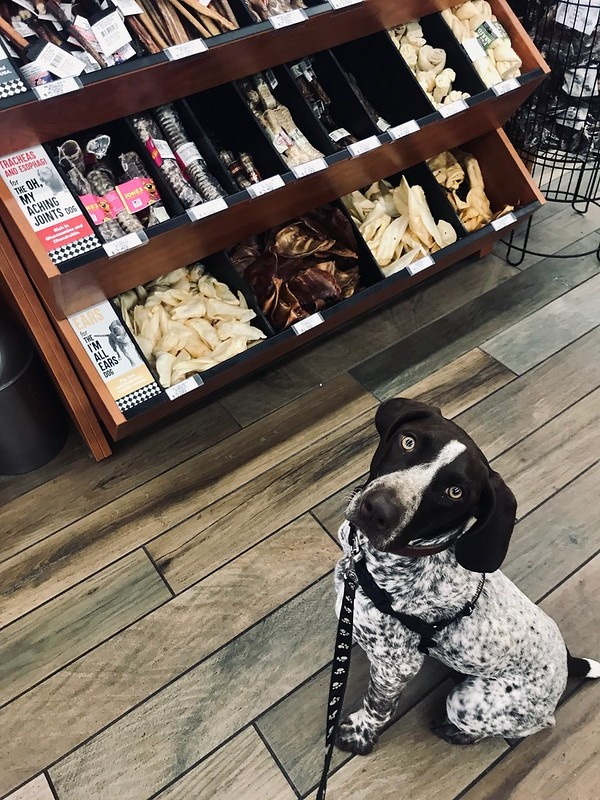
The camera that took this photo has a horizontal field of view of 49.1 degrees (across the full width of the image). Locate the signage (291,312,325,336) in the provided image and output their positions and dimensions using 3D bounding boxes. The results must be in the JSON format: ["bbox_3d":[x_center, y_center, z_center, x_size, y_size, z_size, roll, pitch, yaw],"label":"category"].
[{"bbox_3d":[0.031,-0.260,2.222,0.107,0.055,0.025,-34,23,-22],"label":"signage"}]

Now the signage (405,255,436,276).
[{"bbox_3d":[0.450,-0.493,2.435,0.098,0.022,0.065,-30,68,8],"label":"signage"}]

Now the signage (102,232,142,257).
[{"bbox_3d":[-0.461,-0.401,1.710,0.103,0.038,0.041,-32,51,-20],"label":"signage"}]

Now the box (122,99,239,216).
[{"bbox_3d":[-0.395,-0.685,2.016,0.225,0.119,0.399,-38,95,-32],"label":"box"}]

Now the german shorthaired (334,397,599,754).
[{"bbox_3d":[0.409,0.455,1.559,0.722,0.709,0.404,9,52,10],"label":"german shorthaired"}]

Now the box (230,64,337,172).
[{"bbox_3d":[-0.058,-0.980,2.247,0.132,0.281,0.076,-18,63,20],"label":"box"}]
